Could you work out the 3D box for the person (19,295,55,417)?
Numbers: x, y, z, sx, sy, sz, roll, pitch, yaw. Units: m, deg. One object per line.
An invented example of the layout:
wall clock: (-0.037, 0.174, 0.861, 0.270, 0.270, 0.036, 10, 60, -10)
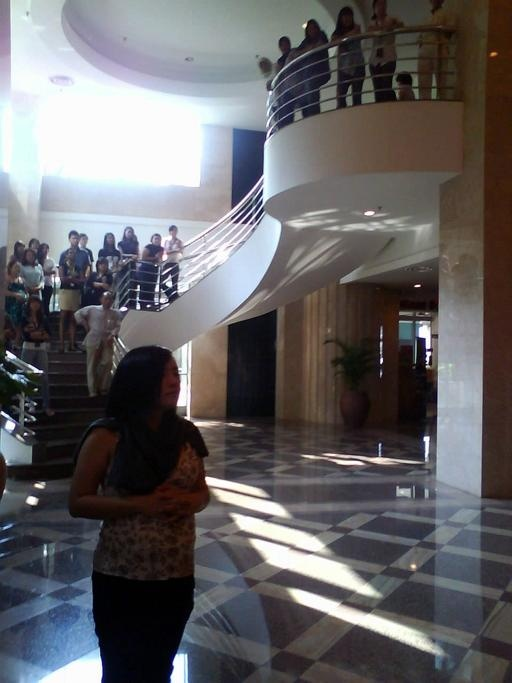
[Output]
person: (-2.781, 0.181, 6.539, 0.368, 1.548, 0.533, 1, -5, -5)
